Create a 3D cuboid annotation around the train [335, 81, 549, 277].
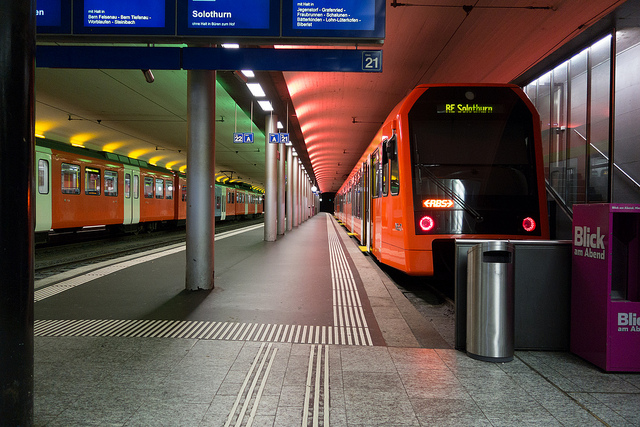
[{"bbox_3d":[2.044,-0.545,8.964,2.151,3.814,3.960,-5,10,-35],"label":"train"}]
